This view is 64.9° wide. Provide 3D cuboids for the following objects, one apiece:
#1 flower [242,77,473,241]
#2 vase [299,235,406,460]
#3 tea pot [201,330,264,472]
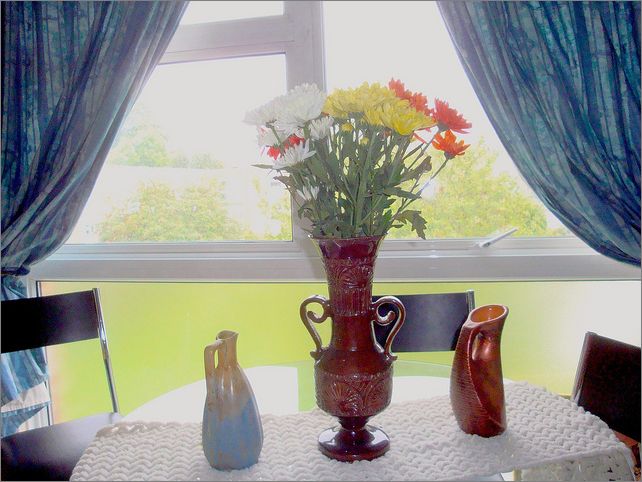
[{"bbox_3d":[0.094,-0.214,1.330,0.461,0.374,0.495,-1,9,-15],"label":"flower"},{"bbox_3d":[0.084,0.262,1.291,0.268,0.545,0.197,-2,13,-4],"label":"vase"},{"bbox_3d":[-0.223,0.398,1.233,0.142,0.320,0.091,-6,14,-19],"label":"tea pot"}]
